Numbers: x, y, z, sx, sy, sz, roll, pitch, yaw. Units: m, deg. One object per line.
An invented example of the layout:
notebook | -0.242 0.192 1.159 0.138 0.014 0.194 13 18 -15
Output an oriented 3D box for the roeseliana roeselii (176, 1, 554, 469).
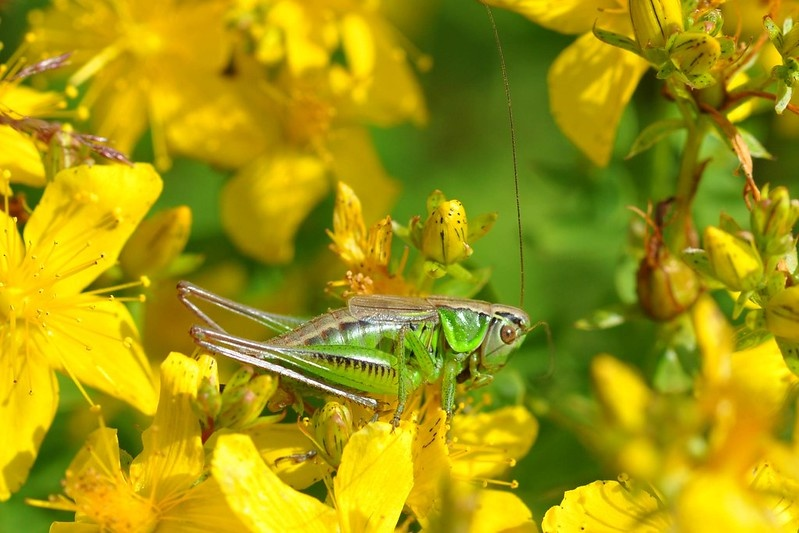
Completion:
roeseliana roeselii | -0.089 0.200 1.716 0.641 0.205 0.238 4 50 0
